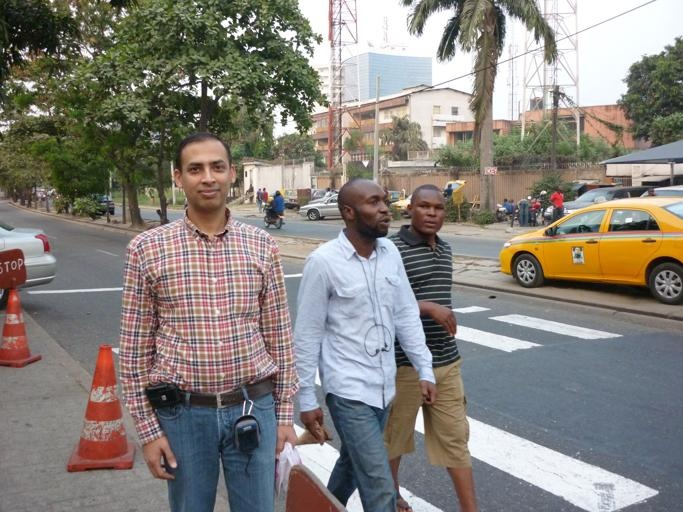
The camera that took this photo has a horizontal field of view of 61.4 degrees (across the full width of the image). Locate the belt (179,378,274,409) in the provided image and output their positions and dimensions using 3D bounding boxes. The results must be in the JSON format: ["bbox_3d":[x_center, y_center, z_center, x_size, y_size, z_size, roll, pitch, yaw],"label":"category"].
[{"bbox_3d":[-0.564,0.697,2.889,0.445,0.097,0.082,-4,8,-23],"label":"belt"}]

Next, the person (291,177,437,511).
[{"bbox_3d":[0.149,0.752,3.575,0.877,1.802,0.727,-1,7,-5],"label":"person"}]

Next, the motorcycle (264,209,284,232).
[{"bbox_3d":[-3.437,-1.776,28.175,0.590,0.824,1.144,-8,16,-42],"label":"motorcycle"}]
